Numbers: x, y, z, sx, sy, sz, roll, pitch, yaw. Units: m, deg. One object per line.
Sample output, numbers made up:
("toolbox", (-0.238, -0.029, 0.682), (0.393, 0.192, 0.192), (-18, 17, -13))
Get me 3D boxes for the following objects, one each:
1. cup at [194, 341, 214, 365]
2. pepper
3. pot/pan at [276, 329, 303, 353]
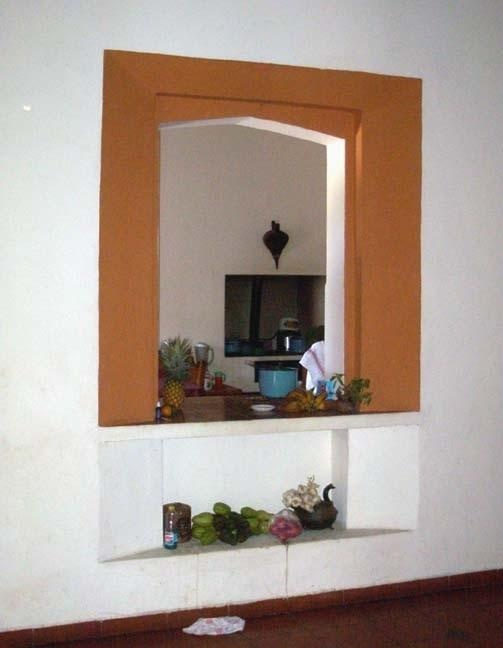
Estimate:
("cup", (-0.405, 0.256, 6.157), (0.163, 0.201, 0.229), (-1, -1, -5))
("pepper", (-0.097, 0.920, 3.384), (0.382, 0.150, 0.293), (-1, -1, -13))
("pot/pan", (0.340, 0.165, 6.643), (0.190, 0.210, 0.210), (1, -11, -3))
